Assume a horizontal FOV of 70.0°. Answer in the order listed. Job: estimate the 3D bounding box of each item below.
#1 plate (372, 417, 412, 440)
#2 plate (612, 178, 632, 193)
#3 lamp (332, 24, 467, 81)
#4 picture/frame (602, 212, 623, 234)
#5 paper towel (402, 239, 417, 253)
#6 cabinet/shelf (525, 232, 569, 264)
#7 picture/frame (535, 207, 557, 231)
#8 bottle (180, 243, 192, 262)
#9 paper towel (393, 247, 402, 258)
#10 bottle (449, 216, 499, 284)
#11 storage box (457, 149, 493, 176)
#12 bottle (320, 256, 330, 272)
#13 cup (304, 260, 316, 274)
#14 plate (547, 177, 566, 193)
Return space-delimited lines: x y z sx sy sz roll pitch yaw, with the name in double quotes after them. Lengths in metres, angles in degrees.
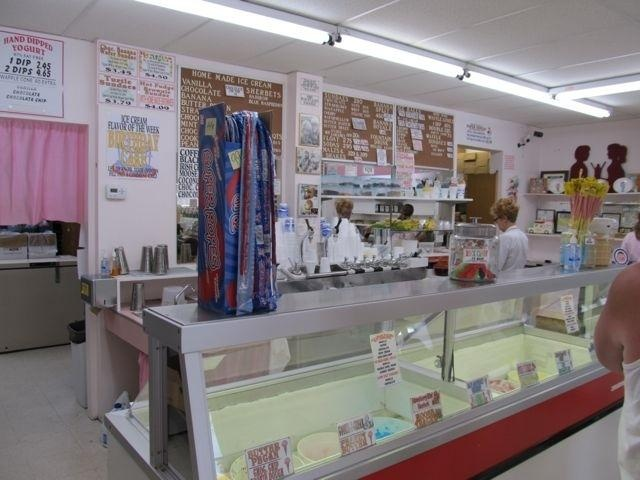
0.290 0.759 1.885 0.188 0.051 0.080 -4 14 -33 "plate"
4.726 -0.853 7.123 0.104 0.230 0.273 -1 12 -19 "plate"
0.891 -1.891 4.548 1.589 0.086 0.259 1 34 -27 "lamp"
4.674 -0.297 7.321 0.301 0.301 0.174 13 15 39 "picture/frame"
1.161 0.081 5.889 0.158 0.172 0.303 7 1 1 "paper towel"
3.265 0.107 6.590 0.169 0.507 0.515 0 1 -36 "cabinet/shelf"
3.960 -0.360 7.980 0.395 0.572 0.040 -1 -17 42 "picture/frame"
-1.383 0.134 4.691 0.151 0.240 0.154 1 -1 0 "bottle"
0.944 0.139 5.558 0.118 0.060 0.492 6 12 9 "paper towel"
0.841 0.065 2.471 0.239 0.312 0.237 -3 7 0 "bottle"
2.762 -1.358 8.203 0.547 0.462 0.801 -6 15 -15 "storage box"
0.036 0.224 3.982 0.099 0.121 0.109 0 -2 -3 "bottle"
-0.087 0.238 4.014 0.090 0.094 0.092 1 6 0 "cup"
3.963 -0.897 7.683 0.303 0.244 0.222 13 15 40 "plate"
